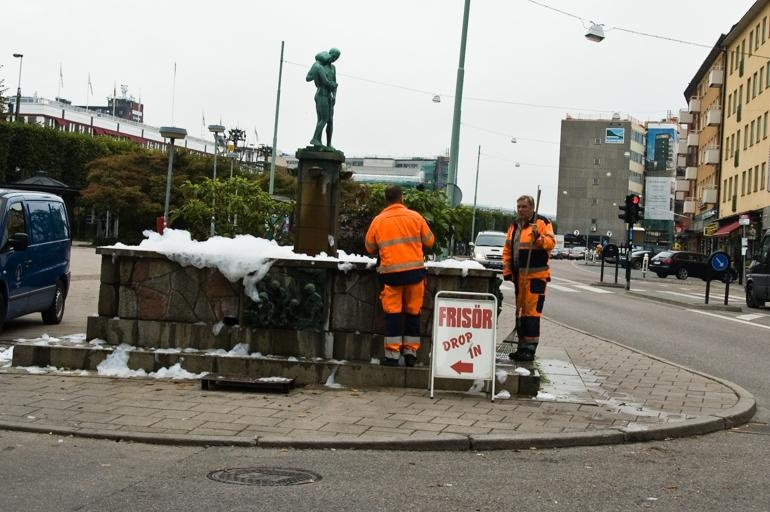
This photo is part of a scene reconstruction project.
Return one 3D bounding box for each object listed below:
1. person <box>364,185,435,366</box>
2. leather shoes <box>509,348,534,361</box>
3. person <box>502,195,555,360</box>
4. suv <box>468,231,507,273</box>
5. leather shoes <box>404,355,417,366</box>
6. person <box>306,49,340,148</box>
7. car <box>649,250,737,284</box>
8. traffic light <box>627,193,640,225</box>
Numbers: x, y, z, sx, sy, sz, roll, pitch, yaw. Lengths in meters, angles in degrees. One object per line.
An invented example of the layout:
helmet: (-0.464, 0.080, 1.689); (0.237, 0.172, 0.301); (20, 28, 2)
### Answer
person: (0.192, 0.283, 12.166); (0.845, 2.411, 0.661); (4, 10, 10)
leather shoes: (2.010, 1.435, 12.869); (0.400, 0.175, 0.135); (5, 3, 19)
person: (2.096, 0.356, 13.044); (0.724, 2.600, 1.164); (4, 10, 9)
suv: (3.955, -0.288, 33.105); (1.071, 1.100, 2.340); (1, -5, 1)
leather shoes: (0.353, 1.435, 12.208); (0.146, 0.158, 0.148); (-1, 0, -12)
person: (-1.594, -4.000, 22.372); (0.725, 2.464, 0.988); (1, 10, -4)
car: (16.162, 0.612, 46.301); (3.939, 1.323, 1.773); (-1, 3, -13)
traffic light: (9.702, -1.837, 34.388); (0.576, 1.205, 0.869); (5, 10, 15)
